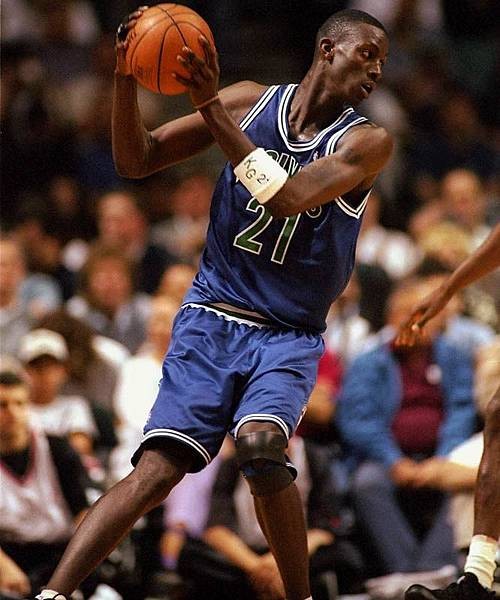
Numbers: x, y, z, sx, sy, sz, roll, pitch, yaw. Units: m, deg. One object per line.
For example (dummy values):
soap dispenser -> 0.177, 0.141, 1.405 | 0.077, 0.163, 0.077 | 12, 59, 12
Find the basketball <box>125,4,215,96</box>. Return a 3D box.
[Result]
basketball -> -0.261, -0.873, 2.894 | 0.256, 0.290, 0.331 | -17, 33, -32

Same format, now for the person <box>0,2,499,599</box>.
person -> -0.071, -0.019, 2.944 | 0.961, 1.878, 1.538 | 7, 28, 7
